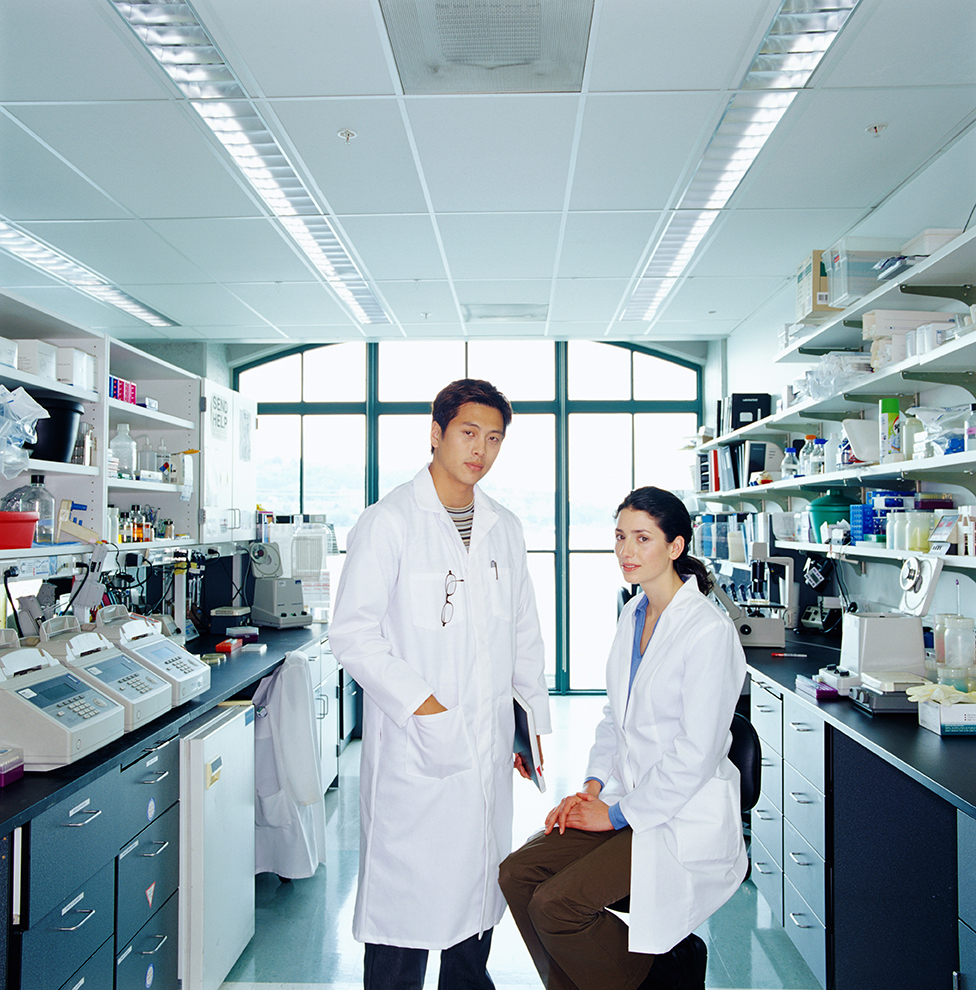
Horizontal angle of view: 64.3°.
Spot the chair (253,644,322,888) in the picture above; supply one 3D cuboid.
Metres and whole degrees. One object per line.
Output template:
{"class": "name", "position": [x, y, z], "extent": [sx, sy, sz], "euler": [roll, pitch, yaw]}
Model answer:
{"class": "chair", "position": [-0.802, 1.105, 3.121], "extent": [0.278, 0.916, 0.322], "euler": [1, -3, -16]}
